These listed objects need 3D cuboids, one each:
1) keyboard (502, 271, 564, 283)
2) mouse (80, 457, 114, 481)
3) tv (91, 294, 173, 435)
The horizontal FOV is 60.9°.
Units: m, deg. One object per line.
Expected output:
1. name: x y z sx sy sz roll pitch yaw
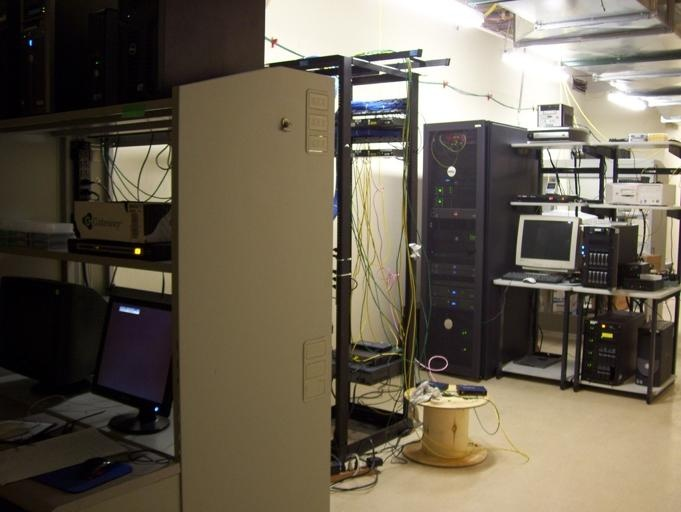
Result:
1. keyboard: 1.743 0.179 5.223 0.536 0.058 0.388 4 10 23
2. mouse: -0.880 0.765 2.095 0.054 0.031 0.089 2 0 19
3. tv: -0.919 0.497 2.578 0.525 0.673 0.267 0 -1 35
